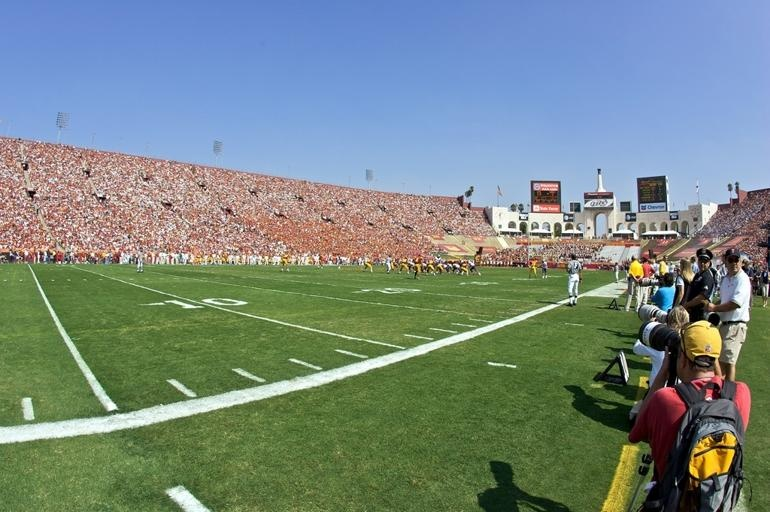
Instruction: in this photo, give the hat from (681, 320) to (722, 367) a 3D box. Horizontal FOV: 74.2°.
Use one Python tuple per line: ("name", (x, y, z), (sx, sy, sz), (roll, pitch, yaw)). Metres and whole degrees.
("hat", (2.921, 0.799, 4.715), (0.307, 0.388, 0.235), (7, 15, 25))
